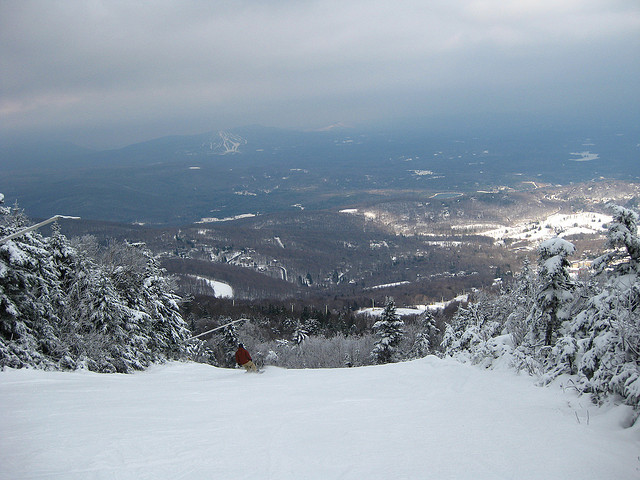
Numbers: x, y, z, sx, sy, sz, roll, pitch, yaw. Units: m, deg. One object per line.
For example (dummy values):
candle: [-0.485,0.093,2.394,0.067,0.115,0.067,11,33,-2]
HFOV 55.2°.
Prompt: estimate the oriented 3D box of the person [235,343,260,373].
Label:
person: [-3.999,6.391,33.392,0.889,1.785,1.113,5,10,33]
